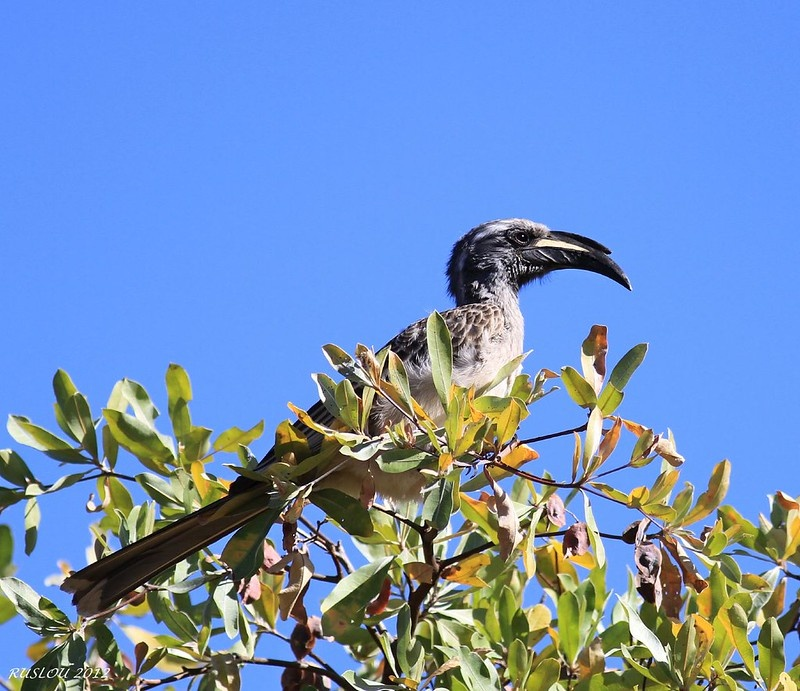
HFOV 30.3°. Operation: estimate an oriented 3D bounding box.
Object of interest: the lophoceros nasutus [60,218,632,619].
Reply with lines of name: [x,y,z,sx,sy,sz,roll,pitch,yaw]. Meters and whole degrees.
lophoceros nasutus: [-0.223,0.237,6.601,2.548,1.317,0.795,-10,-17,-10]
